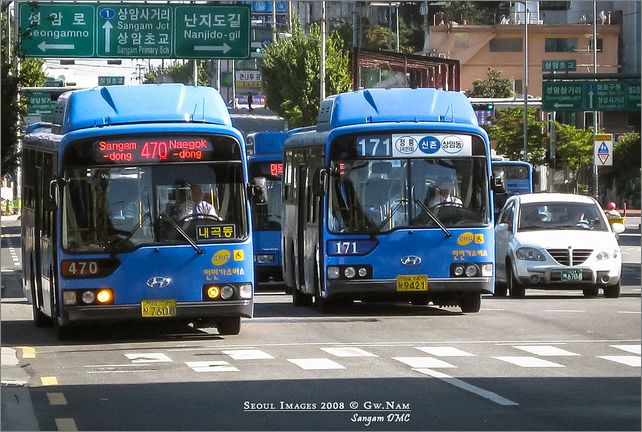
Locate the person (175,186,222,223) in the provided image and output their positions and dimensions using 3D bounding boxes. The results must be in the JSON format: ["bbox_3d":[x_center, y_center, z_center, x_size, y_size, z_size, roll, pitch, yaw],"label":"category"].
[{"bbox_3d":[-1.920,-0.159,12.522,0.720,0.613,0.390,-4,2,-37],"label":"person"}]

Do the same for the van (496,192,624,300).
[{"bbox_3d":[5.525,0.577,18.911,1.880,1.552,3.375,0,-10,-1],"label":"van"}]

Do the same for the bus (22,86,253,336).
[{"bbox_3d":[-3.718,-0.336,16.798,2.909,4.038,9.139,-2,5,-15],"label":"bus"}]

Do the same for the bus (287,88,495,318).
[{"bbox_3d":[1.066,-0.410,20.262,3.579,4.532,10.350,-1,1,-8],"label":"bus"}]
